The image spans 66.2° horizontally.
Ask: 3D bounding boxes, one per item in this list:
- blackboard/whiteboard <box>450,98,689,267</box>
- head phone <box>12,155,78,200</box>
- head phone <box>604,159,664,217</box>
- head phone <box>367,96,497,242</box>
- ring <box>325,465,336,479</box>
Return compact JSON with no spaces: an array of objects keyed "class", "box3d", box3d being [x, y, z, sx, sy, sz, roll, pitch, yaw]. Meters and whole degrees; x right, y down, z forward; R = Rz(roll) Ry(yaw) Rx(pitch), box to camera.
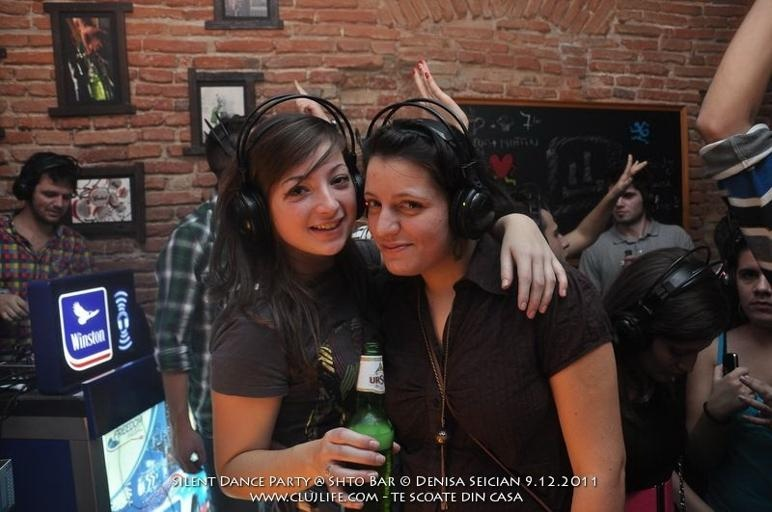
[{"class":"blackboard/whiteboard","box3d":[1.044,-0.449,3.387,1.178,0.761,0.057,-1,-1,-10]},{"class":"head phone","box3d":[-2.032,-0.469,3.518,0.250,0.214,0.099,11,31,-44]},{"class":"head phone","box3d":[1.656,-0.455,3.943,0.320,0.381,0.186,11,48,20]},{"class":"head phone","box3d":[0.119,-0.421,2.192,0.405,0.348,0.159,5,-12,-11]},{"class":"ring","box3d":[-0.193,0.753,2.081,0.045,0.043,0.033,-4,33,-16]}]
